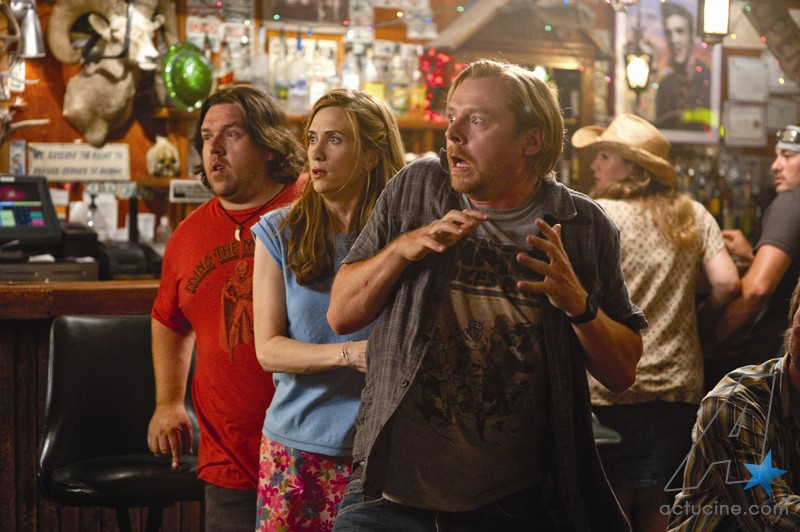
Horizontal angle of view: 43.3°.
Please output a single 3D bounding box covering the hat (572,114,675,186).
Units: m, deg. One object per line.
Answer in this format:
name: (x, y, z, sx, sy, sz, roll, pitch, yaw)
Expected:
hat: (1.202, -0.668, 5.534, 0.502, 0.226, 0.485, 9, -5, -12)
